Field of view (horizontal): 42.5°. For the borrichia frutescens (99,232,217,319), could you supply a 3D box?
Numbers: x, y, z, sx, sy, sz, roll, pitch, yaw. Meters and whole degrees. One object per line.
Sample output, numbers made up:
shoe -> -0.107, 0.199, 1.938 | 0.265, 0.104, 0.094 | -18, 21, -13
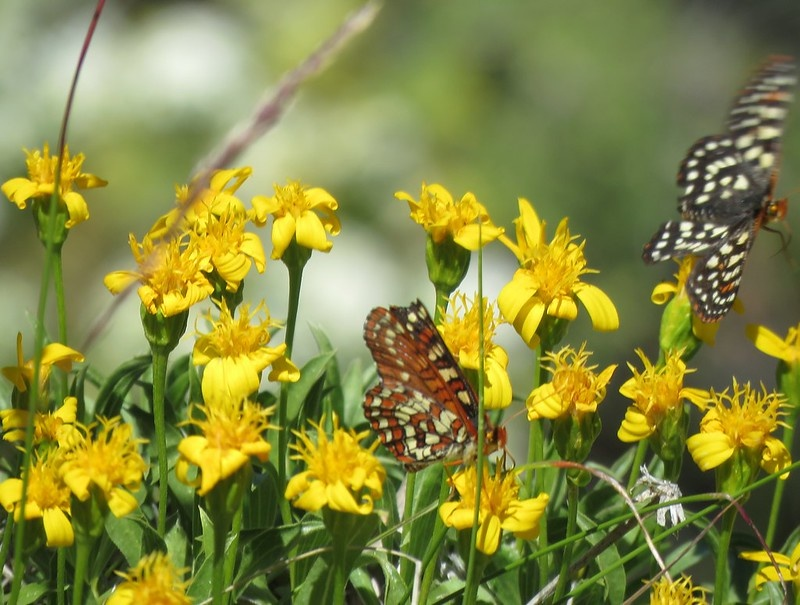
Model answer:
borrichia frutescens -> -0.412, -0.099, 1.735 | 0.140, 0.182, 0.118 | 2, -50, 8

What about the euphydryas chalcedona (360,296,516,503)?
euphydryas chalcedona -> 0.044, 0.155, 1.884 | 0.202, 0.287, 0.286 | 34, 8, -4

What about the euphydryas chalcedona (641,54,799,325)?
euphydryas chalcedona -> 0.640, -0.184, 2.033 | 0.327, 0.513, 0.312 | -8, -16, 15

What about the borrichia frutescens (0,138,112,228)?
borrichia frutescens -> -0.642, -0.237, 1.906 | 0.168, 0.129, 0.186 | 28, 35, 17
